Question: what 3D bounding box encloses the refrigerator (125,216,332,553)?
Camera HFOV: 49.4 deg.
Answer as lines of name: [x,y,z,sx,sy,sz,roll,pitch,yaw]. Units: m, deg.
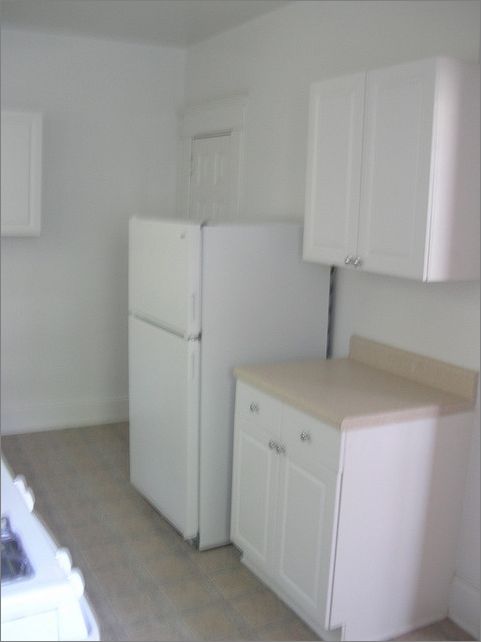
refrigerator: [-0.295,0.097,3.580,1.244,2.769,1.304,-1,8,-22]
